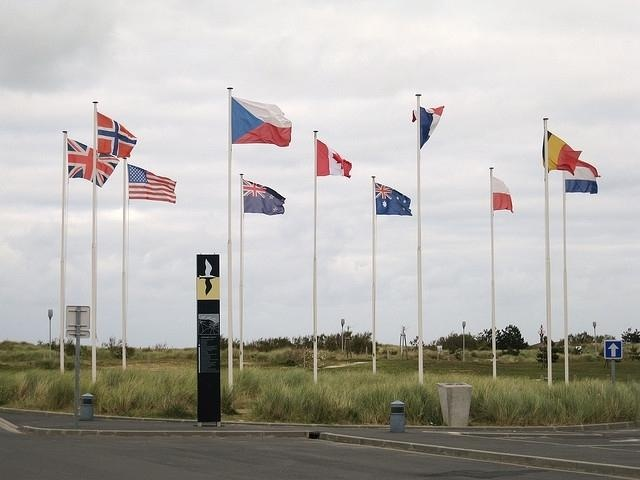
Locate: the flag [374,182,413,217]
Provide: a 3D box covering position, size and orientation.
[{"bbox_3d":[3.358,-1.950,57.811,1.933,1.501,0.847,-1,-2,43],"label":"flag"}]

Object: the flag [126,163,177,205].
[{"bbox_3d":[-7.617,-2.582,54.172,2.167,1.628,0.188,3,-18,-12],"label":"flag"}]

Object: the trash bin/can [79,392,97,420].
[{"bbox_3d":[-8.923,6.433,45.625,0.517,0.983,0.535,1,-1,-19],"label":"trash bin/can"}]

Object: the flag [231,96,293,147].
[{"bbox_3d":[-2.553,-4.979,50.631,2.478,2.062,0.390,0,-1,15],"label":"flag"}]

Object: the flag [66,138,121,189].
[{"bbox_3d":[-10.236,-3.491,53.365,2.107,2.025,0.063,6,27,-7],"label":"flag"}]

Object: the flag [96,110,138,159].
[{"bbox_3d":[-9.085,-4.592,52.721,1.625,1.824,0.240,1,-1,-32],"label":"flag"}]

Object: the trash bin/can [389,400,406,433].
[{"bbox_3d":[2.858,6.443,43.000,0.695,1.135,0.749,-6,-14,31],"label":"trash bin/can"}]

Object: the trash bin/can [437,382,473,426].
[{"bbox_3d":[5.114,6.334,45.442,1.274,1.571,1.019,0,-1,23],"label":"trash bin/can"}]

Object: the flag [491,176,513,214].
[{"bbox_3d":[8.990,-2.283,59.277,0.958,1.584,1.551,0,-2,9],"label":"flag"}]

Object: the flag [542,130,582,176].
[{"bbox_3d":[10.631,-3.856,52.565,1.209,1.743,0.302,0,-1,7],"label":"flag"}]
